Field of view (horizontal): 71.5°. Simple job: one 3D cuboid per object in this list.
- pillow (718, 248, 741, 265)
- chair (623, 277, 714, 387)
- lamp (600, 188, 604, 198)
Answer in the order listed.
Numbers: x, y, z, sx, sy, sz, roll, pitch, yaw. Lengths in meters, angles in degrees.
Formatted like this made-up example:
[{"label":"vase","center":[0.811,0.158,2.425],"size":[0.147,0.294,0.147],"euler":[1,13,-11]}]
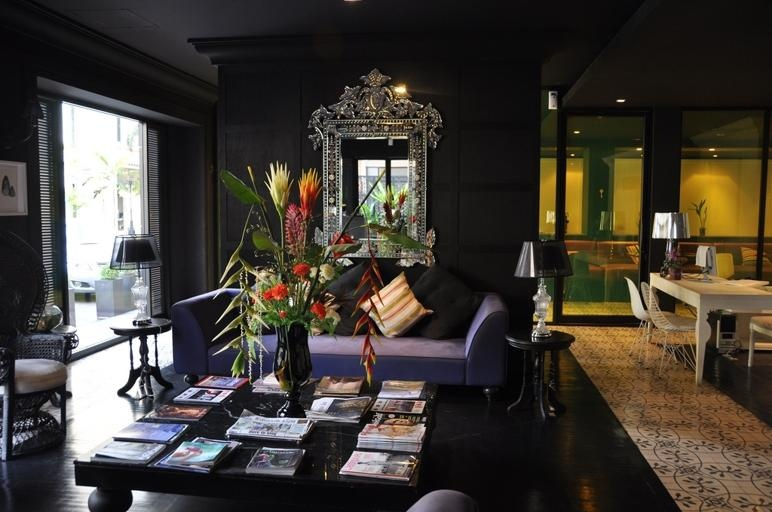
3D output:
[{"label":"pillow","center":[5.444,-0.003,8.434],"size":[0.317,0.279,0.080],"euler":[-6,5,2]},{"label":"chair","center":[3.635,0.924,7.236],"size":[1.240,1.556,1.144],"euler":[-4,1,3]},{"label":"lamp","center":[3.396,-0.975,8.414],"size":[0.084,0.152,0.027],"euler":[0,14,1]}]
